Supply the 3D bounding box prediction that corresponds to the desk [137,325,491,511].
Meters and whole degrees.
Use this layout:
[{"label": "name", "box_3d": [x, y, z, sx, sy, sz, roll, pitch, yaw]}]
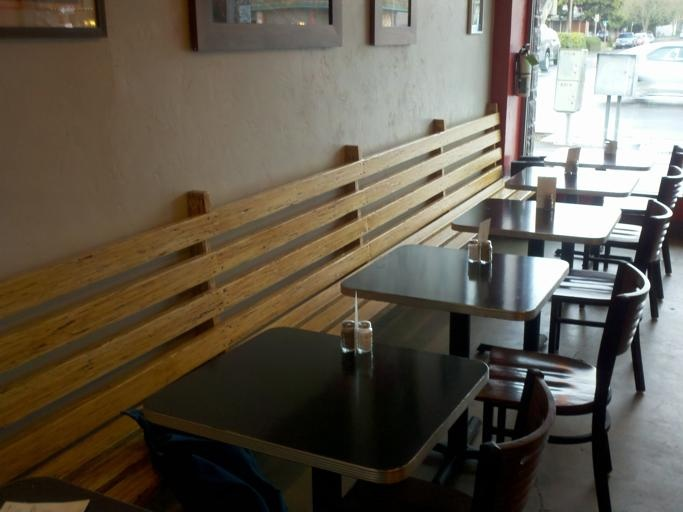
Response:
[{"label": "desk", "box_3d": [-0.053, 0.152, 1.720, 0.726, 0.746, 0.762, 8, 21, 20]}]
